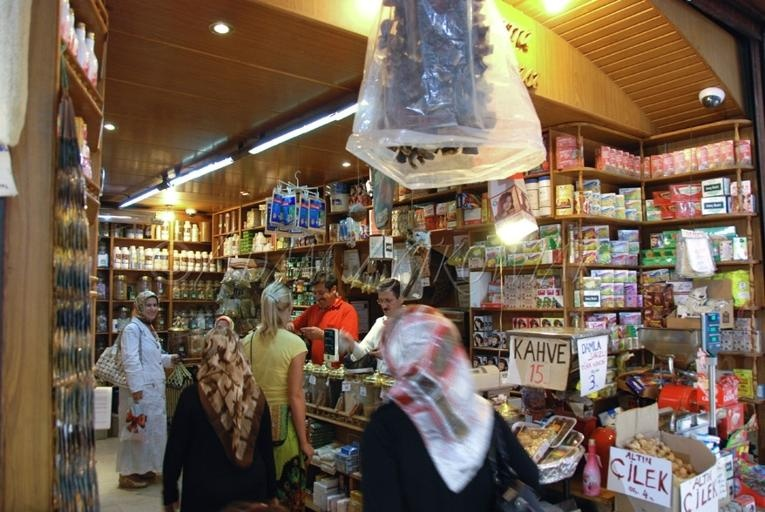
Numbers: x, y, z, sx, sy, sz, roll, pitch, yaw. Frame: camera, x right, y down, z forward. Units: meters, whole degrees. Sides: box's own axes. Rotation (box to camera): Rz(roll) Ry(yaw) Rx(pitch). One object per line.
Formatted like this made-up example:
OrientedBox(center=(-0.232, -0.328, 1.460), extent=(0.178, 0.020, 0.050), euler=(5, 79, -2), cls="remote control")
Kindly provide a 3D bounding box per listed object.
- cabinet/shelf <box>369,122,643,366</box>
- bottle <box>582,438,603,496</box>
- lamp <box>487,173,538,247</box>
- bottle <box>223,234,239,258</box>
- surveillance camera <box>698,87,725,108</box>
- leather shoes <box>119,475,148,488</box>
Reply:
OrientedBox(center=(1.161, -0.084, 4.720), extent=(2.288, 1.910, 0.759), euler=(-7, -12, 43), cls="cabinet/shelf")
OrientedBox(center=(1.259, 1.268, 3.482), extent=(0.114, 0.322, 0.084), euler=(-3, -7, 6), cls="bottle")
OrientedBox(center=(0.983, -0.384, 4.376), extent=(0.318, 0.508, 0.204), euler=(-4, -8, 15), cls="lamp")
OrientedBox(center=(-2.464, -0.163, 9.365), extent=(0.143, 0.332, 0.393), euler=(1, -3, -38), cls="bottle")
OrientedBox(center=(3.046, -1.439, 5.320), extent=(0.213, 0.143, 0.209), euler=(2, -7, 9), cls="surveillance camera")
OrientedBox(center=(-2.449, 2.208, 5.656), extent=(0.245, 0.100, 0.129), euler=(0, -6, -4), cls="leather shoes")
